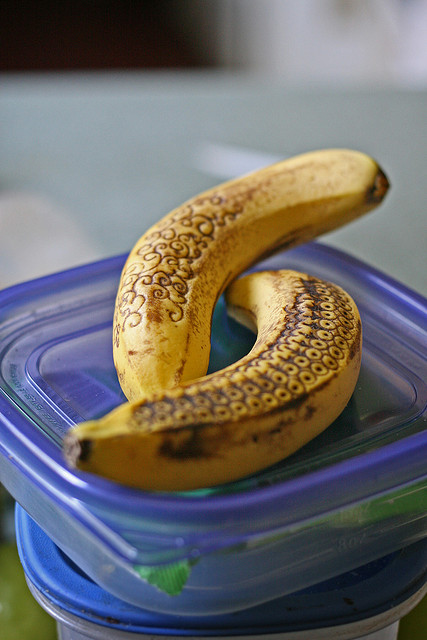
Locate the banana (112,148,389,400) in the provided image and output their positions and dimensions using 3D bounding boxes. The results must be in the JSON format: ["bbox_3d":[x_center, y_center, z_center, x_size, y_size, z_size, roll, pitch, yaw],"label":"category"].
[{"bbox_3d":[0.036,-0.014,0.407,0.194,0.046,0.113,-38,47,-28],"label":"banana"}]

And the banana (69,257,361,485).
[{"bbox_3d":[0.015,0.022,0.330,0.099,0.041,0.182,12,33,19],"label":"banana"}]
